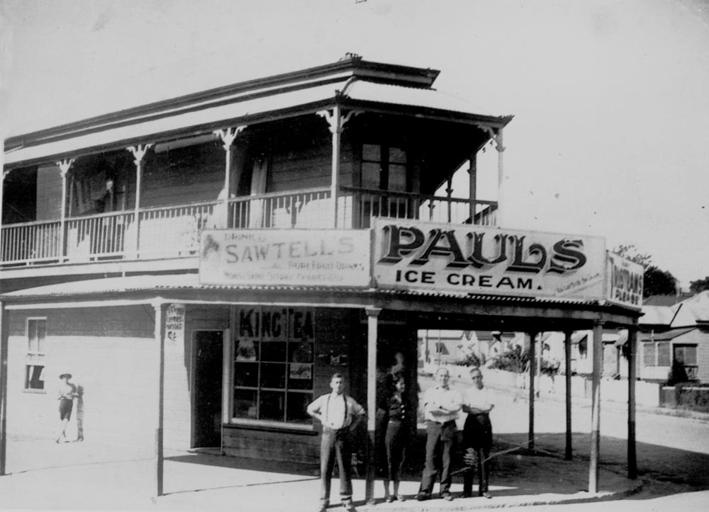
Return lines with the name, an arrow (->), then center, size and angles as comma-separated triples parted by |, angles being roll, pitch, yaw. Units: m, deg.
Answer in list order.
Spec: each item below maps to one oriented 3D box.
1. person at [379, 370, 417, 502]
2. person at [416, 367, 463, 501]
person -> 0.877, 3.831, 19.822 | 0.501, 2.766, 0.994 | 0, -10, 4
person -> 1.781, 3.754, 19.439 | 0.907, 2.688, 1.014 | 1, -10, 4
